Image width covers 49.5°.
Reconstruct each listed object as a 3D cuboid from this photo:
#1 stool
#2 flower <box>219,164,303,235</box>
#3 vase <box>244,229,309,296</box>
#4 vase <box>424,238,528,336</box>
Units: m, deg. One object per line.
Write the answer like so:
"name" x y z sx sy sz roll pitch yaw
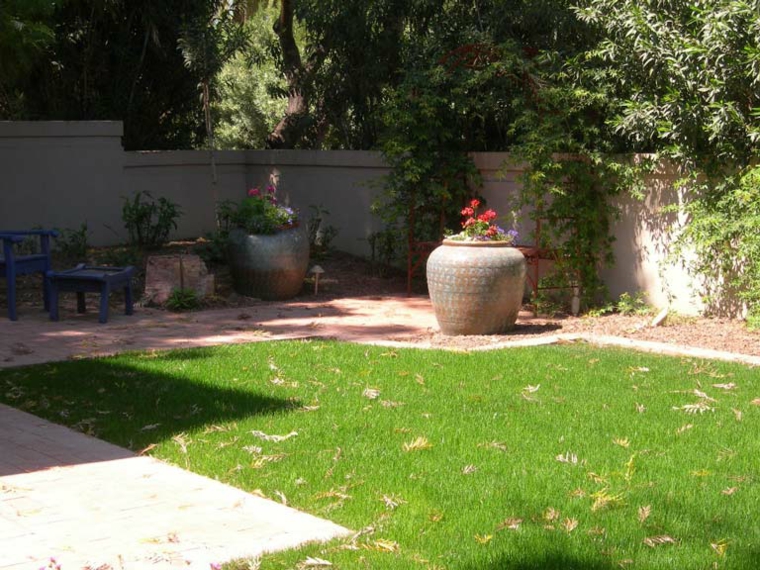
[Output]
"stool" -3.795 0.105 10.891 0.884 0.654 0.935 4 12 17
"flower" -2.232 -1.671 15.708 1.520 1.315 1.573 -4 6 -35
"vase" -1.626 -0.378 12.749 0.826 0.872 0.965 0 0 -4
"vase" 1.171 -0.037 10.373 1.008 1.390 1.111 -1 1 -4
